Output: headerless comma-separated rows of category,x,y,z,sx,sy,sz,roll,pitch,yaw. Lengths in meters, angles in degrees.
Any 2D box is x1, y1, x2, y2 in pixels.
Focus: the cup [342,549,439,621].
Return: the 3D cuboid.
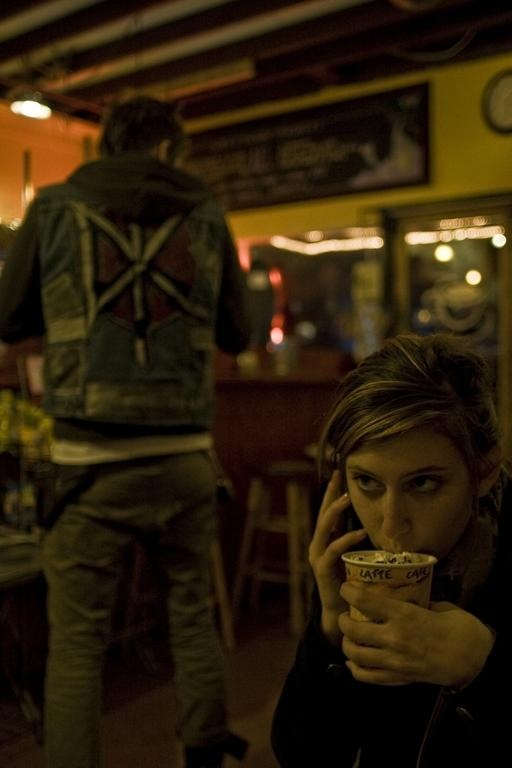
cup,0.175,0.260,0.937,0.117,0.081,0.103,5,9,41
